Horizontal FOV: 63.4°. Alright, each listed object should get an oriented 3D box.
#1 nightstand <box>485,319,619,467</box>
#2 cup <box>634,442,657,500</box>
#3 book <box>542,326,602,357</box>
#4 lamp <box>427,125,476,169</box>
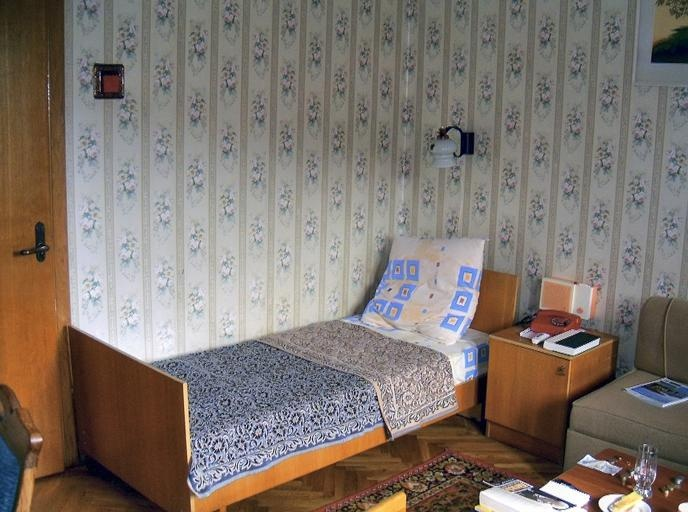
[{"bbox_3d":[1.277,0.851,3.586,0.605,0.696,0.647,7,11,35],"label":"nightstand"},{"bbox_3d":[1.226,0.897,2.275,0.070,0.233,0.058,5,15,20],"label":"cup"},{"bbox_3d":[1.348,0.520,3.322,0.225,0.050,0.148,-15,20,-40],"label":"book"},{"bbox_3d":[0.783,-0.814,4.144,0.384,0.392,0.233,-4,7,-30],"label":"lamp"}]
